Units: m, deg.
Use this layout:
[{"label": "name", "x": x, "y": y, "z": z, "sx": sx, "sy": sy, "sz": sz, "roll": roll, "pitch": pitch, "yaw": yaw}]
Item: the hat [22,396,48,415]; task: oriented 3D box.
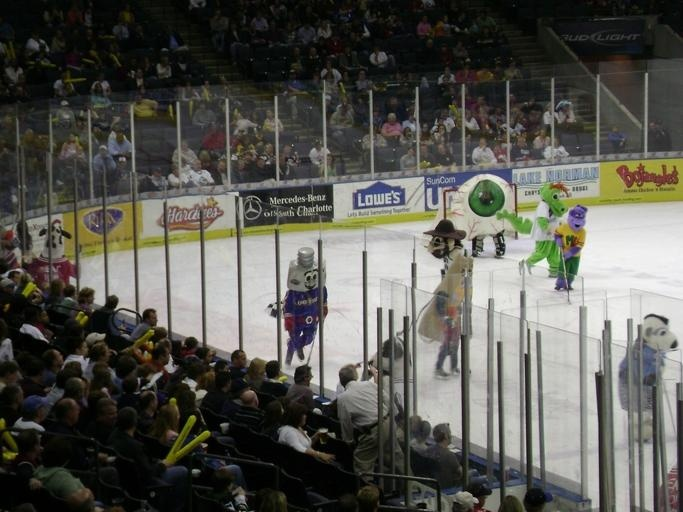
[{"label": "hat", "x": -3.322, "y": 1.617, "z": 12.284, "sx": 0.261, "sy": 0.122, "sz": 0.172, "roll": -7, "pitch": 18, "yaw": -26}]

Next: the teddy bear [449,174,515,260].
[{"label": "teddy bear", "x": 2.909, "y": -0.811, "z": 22.876, "sx": 1.698, "sy": 1.711, "sz": 1.063, "roll": -6, "pitch": 5, "yaw": -17}]
